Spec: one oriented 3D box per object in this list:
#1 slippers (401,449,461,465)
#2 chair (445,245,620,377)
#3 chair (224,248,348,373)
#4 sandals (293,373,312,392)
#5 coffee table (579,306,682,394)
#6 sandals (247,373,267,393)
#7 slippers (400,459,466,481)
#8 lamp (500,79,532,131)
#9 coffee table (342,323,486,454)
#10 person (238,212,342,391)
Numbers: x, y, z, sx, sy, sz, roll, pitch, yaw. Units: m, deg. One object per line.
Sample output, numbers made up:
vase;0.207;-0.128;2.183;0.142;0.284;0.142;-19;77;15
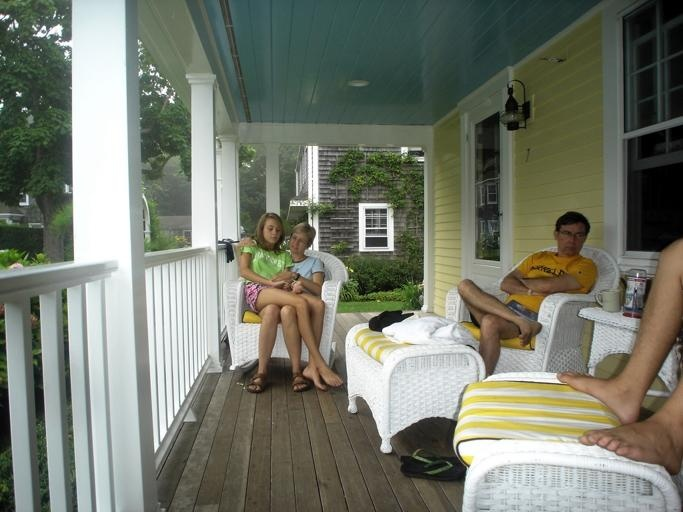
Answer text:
slippers;0.488;1.098;2.744;0.317;0.072;0.124;-4;9;0
chair;1.452;0.426;3.751;1.069;0.967;0.947;-1;1;-32
chair;-0.435;0.560;4.513;0.968;0.989;1.016;-2;-12;6
sandals;-0.306;0.956;3.815;0.151;0.108;0.163;-2;7;-8
coffee table;1.603;0.474;2.869;0.434;0.451;0.464;15;-2;11
sandals;-0.639;0.964;3.824;0.179;0.110;0.178;-5;8;-25
slippers;0.464;1.111;2.624;0.201;0.048;0.127;-3;2;3
lamp;1.696;-1.463;4.964;0.261;0.503;0.220;-1;-4;12
coffee table;0.415;0.804;3.199;0.635;0.585;0.871;1;2;-14
person;-0.469;0.336;4.020;0.650;1.310;1.053;-4;8;-21
